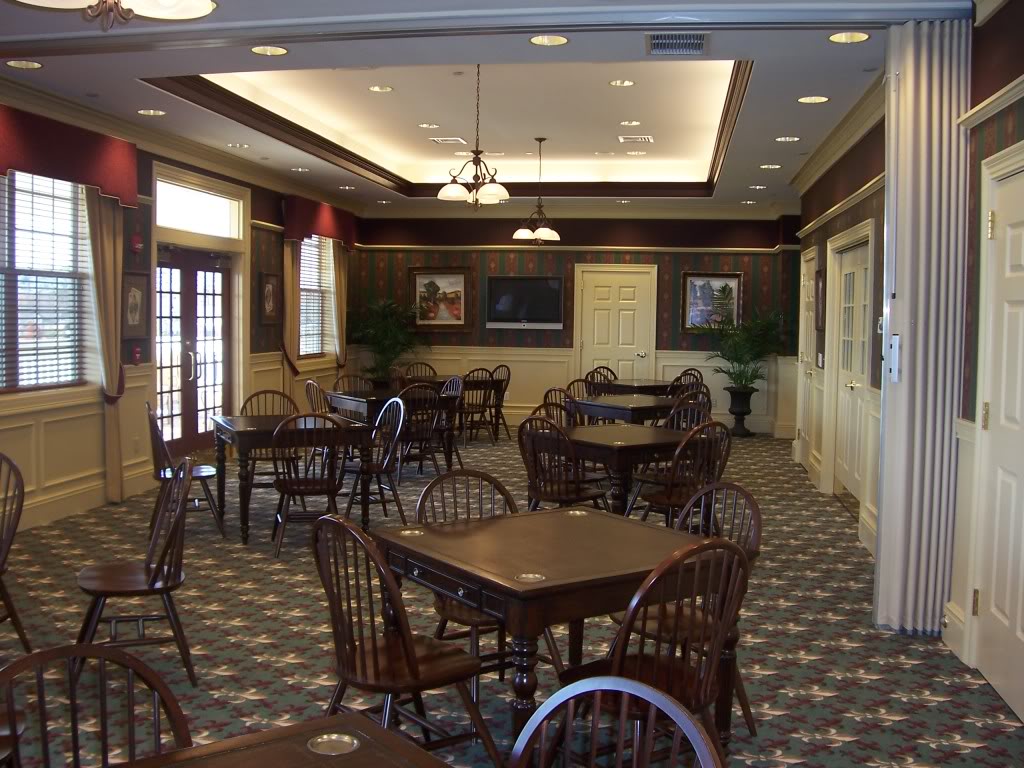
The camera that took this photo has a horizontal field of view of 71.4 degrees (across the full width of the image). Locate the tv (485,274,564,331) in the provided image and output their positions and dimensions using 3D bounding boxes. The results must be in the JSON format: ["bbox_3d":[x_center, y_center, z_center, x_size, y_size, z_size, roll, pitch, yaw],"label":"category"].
[{"bbox_3d":[0.187,-1.401,12.146,1.265,0.886,0.102,0,3,4],"label":"tv"}]

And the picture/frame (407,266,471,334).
[{"bbox_3d":[-1.240,-1.494,12.293,1.224,1.291,0.065,2,9,5],"label":"picture/frame"}]

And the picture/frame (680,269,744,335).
[{"bbox_3d":[3.308,-1.378,11.746,1.156,1.127,0.089,3,5,18],"label":"picture/frame"}]
